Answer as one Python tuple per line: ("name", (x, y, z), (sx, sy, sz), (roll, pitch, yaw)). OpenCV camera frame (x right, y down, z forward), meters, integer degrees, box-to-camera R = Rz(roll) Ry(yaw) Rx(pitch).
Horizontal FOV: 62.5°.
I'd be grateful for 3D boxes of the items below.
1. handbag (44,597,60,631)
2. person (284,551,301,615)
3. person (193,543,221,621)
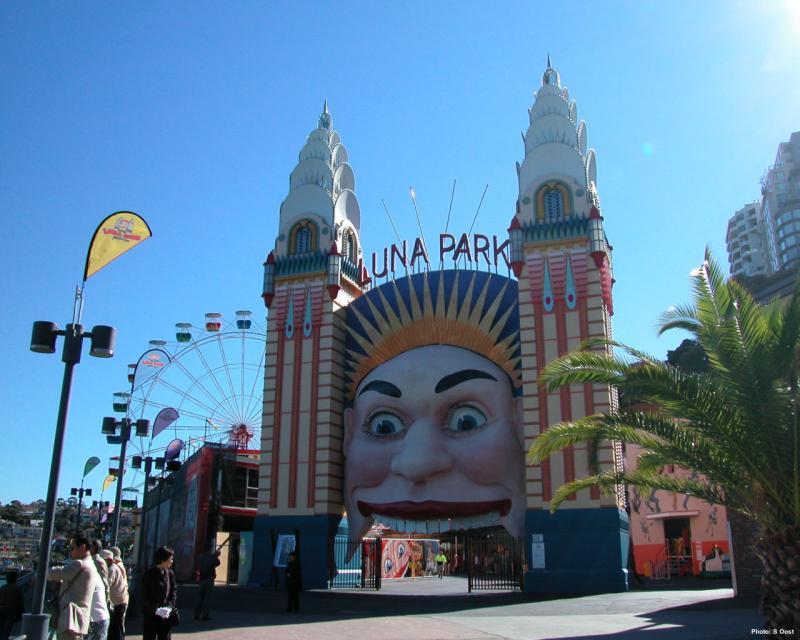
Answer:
("handbag", (-4.284, 3.619, 8.147), (0.149, 0.371, 0.394), (7, -22, -26))
("person", (-2.829, 6.898, 17.498), (0.328, 1.481, 1.317), (1, -20, -10))
("person", (-4.365, 5.949, 14.954), (0.441, 1.537, 0.783), (4, -19, -17))
